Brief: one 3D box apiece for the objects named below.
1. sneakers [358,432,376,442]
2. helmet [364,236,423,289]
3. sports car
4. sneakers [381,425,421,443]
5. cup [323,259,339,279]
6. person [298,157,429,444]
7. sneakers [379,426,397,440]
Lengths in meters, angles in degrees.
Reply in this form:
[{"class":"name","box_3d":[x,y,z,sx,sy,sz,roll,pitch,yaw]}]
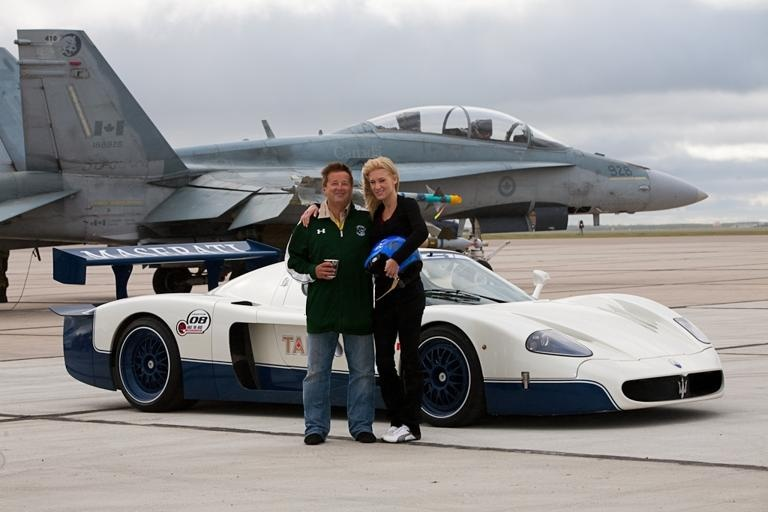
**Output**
[{"class":"sneakers","box_3d":[-0.160,1.465,6.069,0.166,0.080,0.092,-1,2,0]},{"class":"helmet","box_3d":[-0.004,0.011,6.012,0.467,0.224,0.316,-14,-2,9]},{"class":"sports car","box_3d":[-0.259,0.770,7.092,5.412,0.870,2.204,-2,-2,15]},{"class":"sneakers","box_3d":[0.118,1.438,6.035,0.336,0.100,0.128,6,-8,-30]},{"class":"cup","box_3d":[-0.430,0.101,6.028,0.105,0.163,0.118,-1,3,10]},{"class":"person","box_3d":[0.060,0.334,6.175,0.575,2.318,0.551,1,4,41]},{"class":"sneakers","box_3d":[0.029,1.436,6.125,0.088,0.066,0.197,3,-5,10]}]
